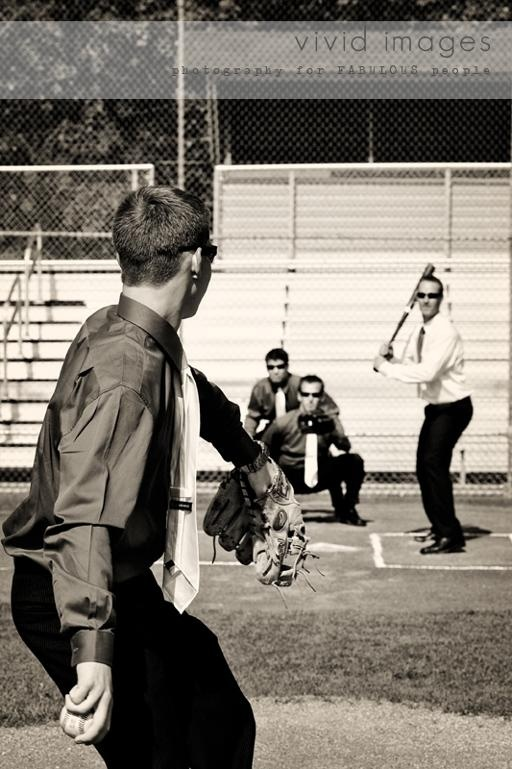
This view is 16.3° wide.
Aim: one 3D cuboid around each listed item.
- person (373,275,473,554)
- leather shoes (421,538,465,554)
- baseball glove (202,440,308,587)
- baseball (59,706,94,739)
[{"bbox_3d":[1.111,0.208,11.574,0.521,1.745,0.653,-1,8,-7],"label":"person"},{"bbox_3d":[1.221,1.037,11.534,0.295,0.157,0.119,2,-2,-11],"label":"leather shoes"},{"bbox_3d":[0.049,0.581,7.570,0.351,0.591,0.251,-9,9,9],"label":"baseball glove"},{"bbox_3d":[-0.667,1.240,6.571,0.096,0.110,0.107,7,19,5],"label":"baseball"}]
